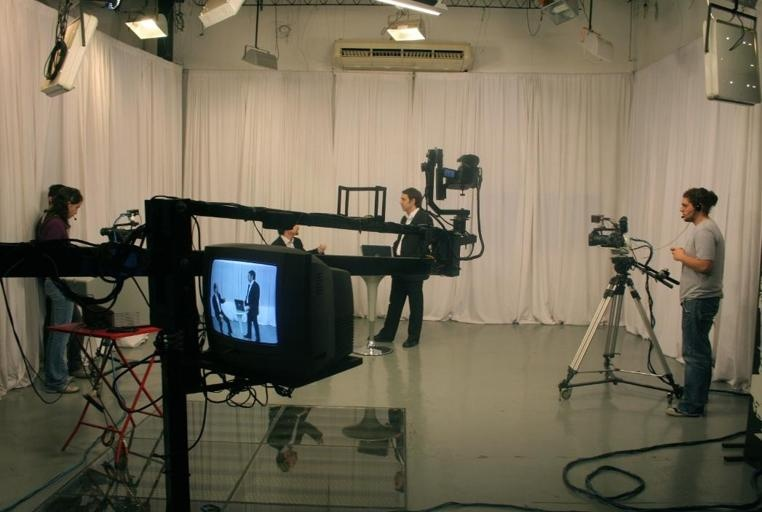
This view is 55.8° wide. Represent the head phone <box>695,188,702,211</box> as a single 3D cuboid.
[{"bbox_3d":[3.045,-0.536,6.917,0.069,0.190,0.204,1,-1,22],"label":"head phone"}]

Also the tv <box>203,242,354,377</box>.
[{"bbox_3d":[-0.793,0.338,5.453,1.001,0.899,0.763,8,10,33],"label":"tv"}]

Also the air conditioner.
[{"bbox_3d":[0.285,-2.778,10.015,1.895,0.419,0.351,0,6,3],"label":"air conditioner"}]

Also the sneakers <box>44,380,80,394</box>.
[{"bbox_3d":[-3.200,1.316,7.187,0.313,0.141,0.142,0,-2,-13],"label":"sneakers"}]

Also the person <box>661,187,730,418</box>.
[{"bbox_3d":[3.013,0.432,6.905,0.464,2.148,0.494,3,7,26],"label":"person"}]

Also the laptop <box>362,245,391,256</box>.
[{"bbox_3d":[-0.067,-0.069,8.167,0.316,0.102,0.226,-1,6,-6],"label":"laptop"}]

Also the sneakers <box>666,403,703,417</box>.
[{"bbox_3d":[2.881,1.483,6.867,0.320,0.145,0.122,3,0,20],"label":"sneakers"}]

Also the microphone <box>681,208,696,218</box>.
[{"bbox_3d":[2.992,-0.418,7.014,0.078,0.107,0.090,2,16,44],"label":"microphone"}]

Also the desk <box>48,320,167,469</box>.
[{"bbox_3d":[-2.501,1.198,6.760,0.807,1.078,0.842,11,21,-2],"label":"desk"}]
